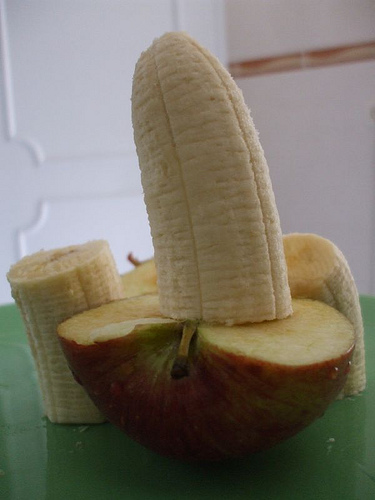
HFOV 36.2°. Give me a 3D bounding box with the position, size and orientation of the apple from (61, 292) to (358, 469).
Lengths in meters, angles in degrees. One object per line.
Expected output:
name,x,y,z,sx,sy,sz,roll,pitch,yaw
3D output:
apple,0.020,0.145,0.651,0.320,0.145,0.208,2,11,19

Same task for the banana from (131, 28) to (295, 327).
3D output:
banana,0.024,-0.068,0.663,0.168,0.313,0.128,-12,13,24
